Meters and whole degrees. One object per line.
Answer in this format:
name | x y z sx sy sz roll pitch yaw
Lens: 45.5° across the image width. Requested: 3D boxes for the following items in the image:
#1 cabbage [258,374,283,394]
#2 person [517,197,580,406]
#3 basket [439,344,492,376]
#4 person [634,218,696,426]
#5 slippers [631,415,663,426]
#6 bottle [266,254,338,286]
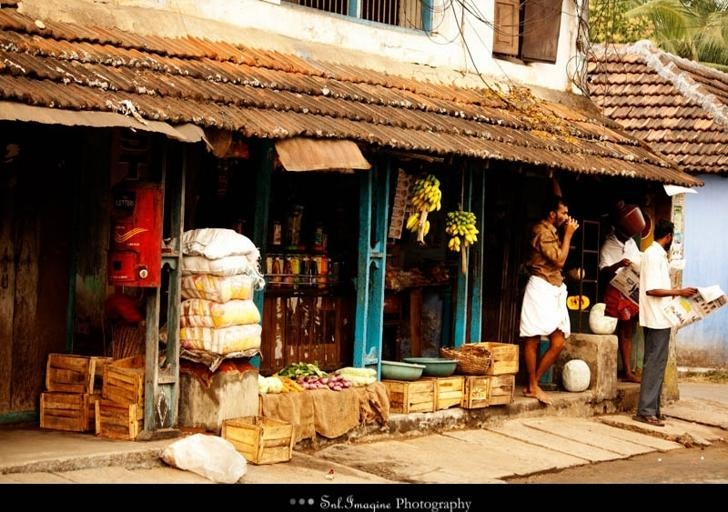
cabbage | -1.070 1.468 9.877 0.206 0.207 0.529 -2 -3 17
person | 2.481 0.628 11.869 0.721 2.806 0.451 -1 -3 10
basket | 1.384 1.369 11.353 0.386 0.217 0.447 6 3 37
person | 4.015 0.929 11.795 0.577 2.795 0.849 -1 -3 -2
slippers | 3.903 2.267 11.961 0.370 0.127 0.158 2 3 32
bottle | -0.807 0.200 11.358 0.186 0.403 1.205 -4 -4 42
